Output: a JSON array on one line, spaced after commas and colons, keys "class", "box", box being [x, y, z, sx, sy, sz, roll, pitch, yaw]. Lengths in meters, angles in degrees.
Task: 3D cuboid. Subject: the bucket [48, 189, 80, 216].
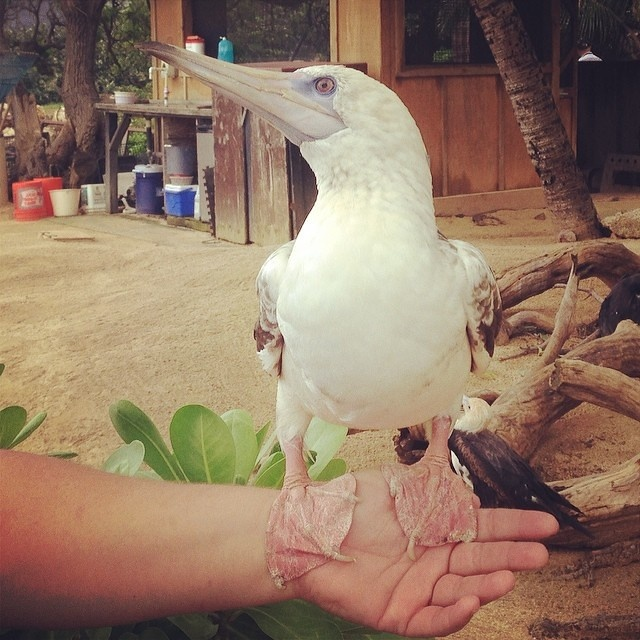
[{"class": "bucket", "box": [-3.219, -1.500, 11.689, 0.304, 0.266, 0.325, -1, 16, 0]}]

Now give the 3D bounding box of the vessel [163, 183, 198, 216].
[{"class": "vessel", "box": [-1.536, -1.349, 10.366, 0.291, 0.321, 0.371, -11, 19, -43]}]

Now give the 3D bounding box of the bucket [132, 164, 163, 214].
[{"class": "bucket", "box": [-2.080, -1.588, 11.387, 0.342, 0.620, 0.462, 4, 4, 17]}]

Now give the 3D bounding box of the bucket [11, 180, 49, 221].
[{"class": "bucket", "box": [-3.570, -1.472, 11.511, 0.447, 0.552, 0.474, -2, 2, 0]}]

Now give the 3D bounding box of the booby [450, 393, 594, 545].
[{"class": "booby", "box": [0.721, 0.588, 3.619, 0.660, 0.466, 0.254, 13, 23, 31]}]
